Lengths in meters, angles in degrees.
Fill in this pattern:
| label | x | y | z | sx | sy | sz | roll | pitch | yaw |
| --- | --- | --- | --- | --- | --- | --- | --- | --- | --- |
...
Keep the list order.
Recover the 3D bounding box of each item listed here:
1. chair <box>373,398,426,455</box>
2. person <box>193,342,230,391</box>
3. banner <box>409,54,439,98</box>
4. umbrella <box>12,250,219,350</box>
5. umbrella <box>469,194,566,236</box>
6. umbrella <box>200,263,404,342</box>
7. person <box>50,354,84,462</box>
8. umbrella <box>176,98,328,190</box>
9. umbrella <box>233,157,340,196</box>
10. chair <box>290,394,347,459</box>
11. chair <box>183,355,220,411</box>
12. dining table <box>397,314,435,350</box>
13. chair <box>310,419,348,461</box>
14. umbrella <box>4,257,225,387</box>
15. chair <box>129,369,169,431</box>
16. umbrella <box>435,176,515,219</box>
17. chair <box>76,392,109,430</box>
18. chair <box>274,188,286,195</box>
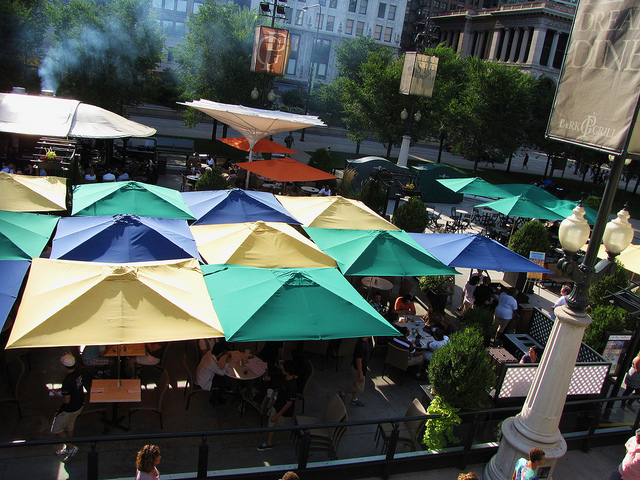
| label | x | y | z | sx | sy | sz | roll | pitch | yaw |
| --- | --- | --- | --- | --- | --- | --- | --- | --- | --- |
| chair | 1.727 | 3.919 | 9.405 | 1.056 | 0.950 | 0.540 | -3 | 18 | -26 |
| person | -2.290 | 2.724 | 9.581 | 0.750 | 0.927 | 0.504 | 1 | 17 | -15 |
| banner | 6.264 | -9.895 | 27.412 | 1.470 | 2.330 | 0.337 | 0 | 18 | -18 |
| umbrella | -3.639 | 1.048 | 8.309 | 3.233 | 0.809 | 2.235 | 1 | 16 | -16 |
| umbrella | 8.914 | -1.255 | 19.852 | 3.068 | 1.099 | 2.779 | 7 | 4 | -25 |
| umbrella | -0.580 | 1.225 | 9.287 | 3.724 | 0.776 | 2.331 | 5 | 16 | -2 |
| person | -4.514 | 2.884 | 8.089 | 0.510 | 1.761 | 0.551 | -3 | 19 | -27 |
| umbrella | -3.128 | -4.932 | 22.697 | 5.528 | 4.134 | 5.160 | 8 | 26 | -4 |
| umbrella | -1.395 | -2.947 | 19.249 | 2.859 | 1.020 | 2.756 | -5 | 32 | -26 |
| chair | -0.105 | 3.734 | 8.992 | 0.880 | 1.123 | 0.689 | 7 | 9 | -13 |
| chair | -2.525 | 3.146 | 9.909 | 0.871 | 1.041 | 0.734 | 7 | -4 | 2 |
| dining table | 2.594 | 2.400 | 12.198 | 0.615 | 0.278 | 1.333 | -1 | 31 | -8 |
| chair | 0.159 | 3.905 | 8.792 | 0.614 | 0.767 | 0.500 | 8 | 23 | -9 |
| umbrella | -3.959 | 1.884 | 8.871 | 2.982 | 1.887 | 2.910 | 12 | 36 | -22 |
| chair | -3.529 | 3.224 | 9.199 | 0.825 | 0.992 | 0.724 | -3 | 23 | -34 |
| umbrella | 7.516 | -1.936 | 21.718 | 3.086 | 2.022 | 3.214 | 11 | -2 | 36 |
| chair | -4.417 | 3.285 | 8.981 | 0.563 | 0.895 | 0.520 | -3 | 44 | -14 |
| chair | -2.217 | -2.572 | 23.975 | 0.571 | 0.319 | 0.541 | -2 | 10 | -16 |
